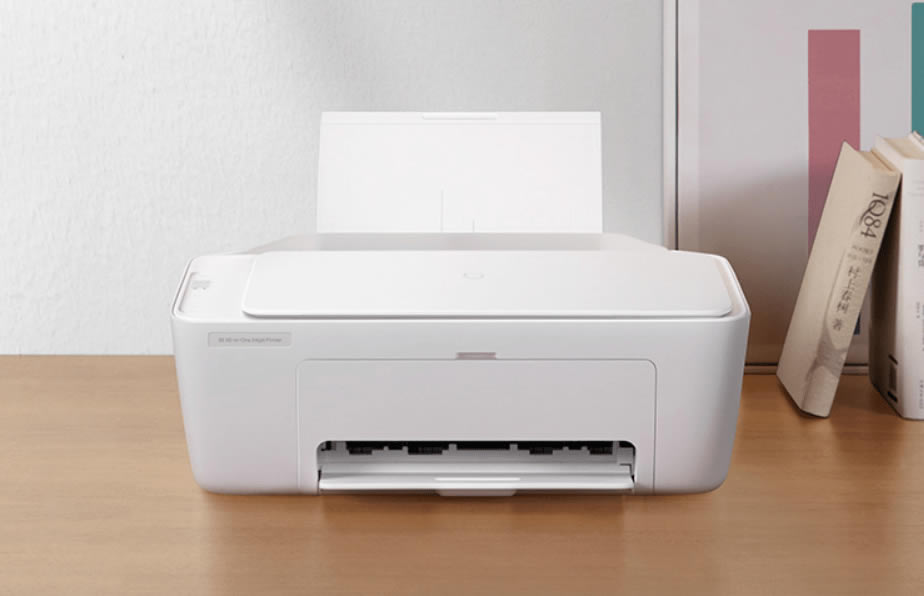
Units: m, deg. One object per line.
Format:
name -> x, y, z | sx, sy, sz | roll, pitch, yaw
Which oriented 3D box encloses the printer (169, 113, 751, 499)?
printer -> -0.015, 0.093, 1.460 | 0.941, 0.505, 0.680 | 1, 14, -1
